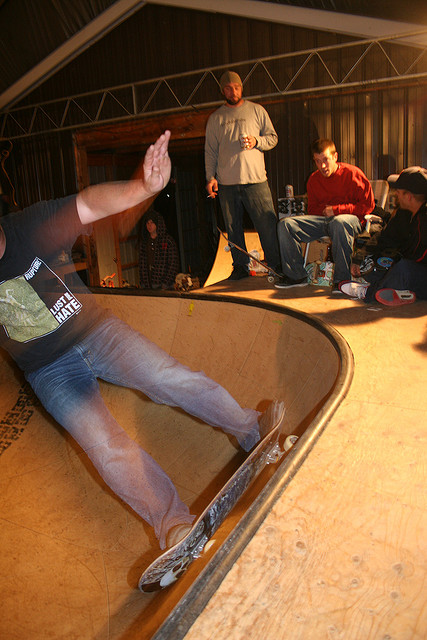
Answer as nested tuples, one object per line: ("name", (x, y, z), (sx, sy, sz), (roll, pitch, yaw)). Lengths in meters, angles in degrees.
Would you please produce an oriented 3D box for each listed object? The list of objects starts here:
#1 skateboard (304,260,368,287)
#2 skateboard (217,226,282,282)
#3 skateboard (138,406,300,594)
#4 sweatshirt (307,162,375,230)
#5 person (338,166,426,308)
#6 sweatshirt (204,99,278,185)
("skateboard", (1.125, -0.449, 4.598), (0.182, 0.208, 0.530), (-28, 26, -34))
("skateboard", (0.358, -0.661, 5.064), (0.402, 0.469, 0.904), (-9, 15, -11))
("skateboard", (0.041, 0.797, 1.879), (0.335, 0.483, 0.792), (7, 20, 41))
("sweatshirt", (1.244, -1.243, 4.808), (0.672, 0.678, 0.408), (12, 37, 40))
("person", (1.409, -0.684, 3.816), (0.646, 1.003, 0.844), (-2, 16, 16))
("sweatshirt", (0.256, -1.810, 4.864), (0.760, 0.826, 0.446), (-5, 15, 7))
